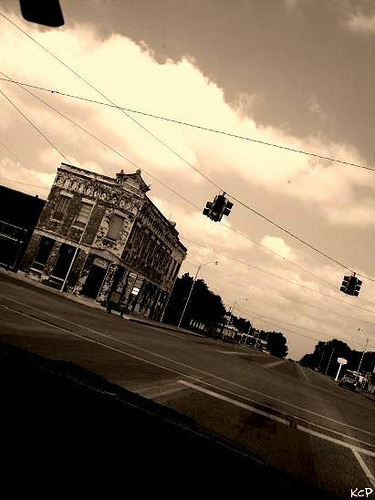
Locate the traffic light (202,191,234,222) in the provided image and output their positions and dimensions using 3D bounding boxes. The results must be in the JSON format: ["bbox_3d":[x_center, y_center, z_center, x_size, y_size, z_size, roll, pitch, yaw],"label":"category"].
[{"bbox_3d":[0.944,-1.351,13.721,0.689,0.889,1.151,22,-7,-2],"label":"traffic light"}]

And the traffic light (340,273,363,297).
[{"bbox_3d":[5.974,1.237,16.464,0.606,0.693,1.160,20,-7,18],"label":"traffic light"}]

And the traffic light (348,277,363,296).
[{"bbox_3d":[6.119,1.374,16.502,0.304,0.497,0.325,21,-7,9],"label":"traffic light"}]
